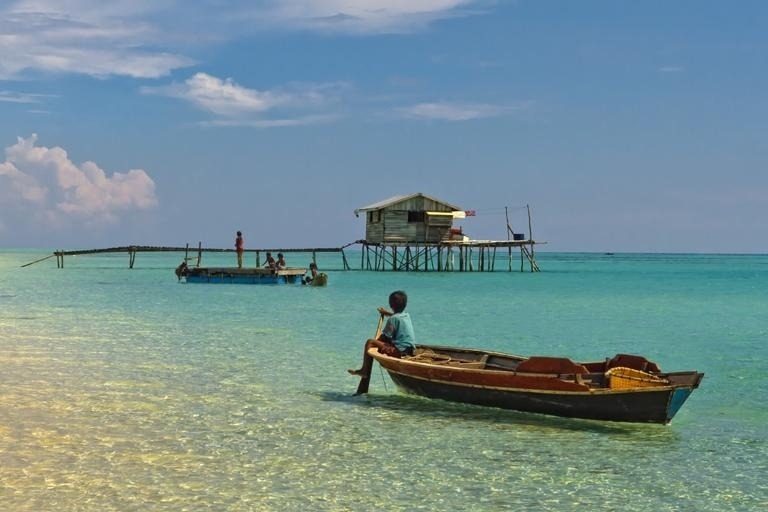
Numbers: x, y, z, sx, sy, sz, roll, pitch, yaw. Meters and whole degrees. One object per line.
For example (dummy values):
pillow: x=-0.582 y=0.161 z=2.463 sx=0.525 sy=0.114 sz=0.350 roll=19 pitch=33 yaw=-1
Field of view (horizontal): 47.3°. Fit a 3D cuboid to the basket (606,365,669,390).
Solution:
basket: x=5.688 y=2.782 z=19.888 sx=1.137 sy=0.237 sz=0.535 roll=-1 pitch=2 yaw=32
